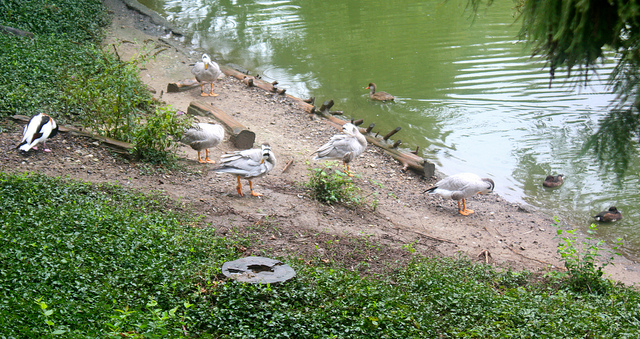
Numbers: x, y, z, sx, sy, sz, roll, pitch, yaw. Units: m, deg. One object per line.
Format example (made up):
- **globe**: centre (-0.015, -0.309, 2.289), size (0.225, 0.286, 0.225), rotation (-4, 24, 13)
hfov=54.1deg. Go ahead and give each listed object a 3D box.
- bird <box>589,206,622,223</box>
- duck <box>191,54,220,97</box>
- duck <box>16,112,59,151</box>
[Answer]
- **bird**: centre (10.030, 1.602, 22.135), size (0.943, 0.484, 0.465), rotation (-2, 13, 0)
- **duck**: centre (-4.729, -3.844, 26.094), size (0.874, 1.745, 0.859), rotation (20, 29, 24)
- **duck**: centre (-9.052, -1.146, 20.158), size (0.703, 1.097, 1.273), rotation (19, 28, 23)
